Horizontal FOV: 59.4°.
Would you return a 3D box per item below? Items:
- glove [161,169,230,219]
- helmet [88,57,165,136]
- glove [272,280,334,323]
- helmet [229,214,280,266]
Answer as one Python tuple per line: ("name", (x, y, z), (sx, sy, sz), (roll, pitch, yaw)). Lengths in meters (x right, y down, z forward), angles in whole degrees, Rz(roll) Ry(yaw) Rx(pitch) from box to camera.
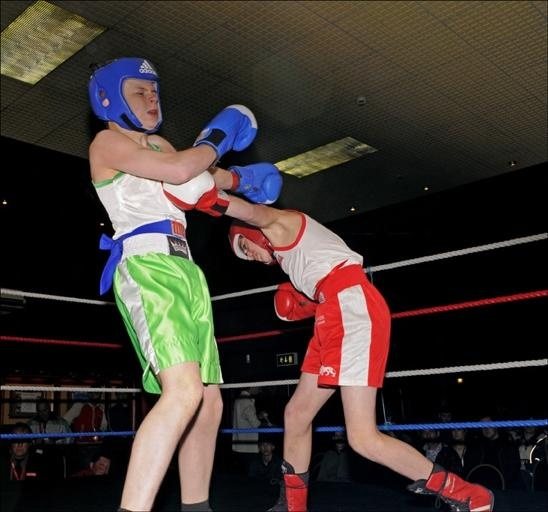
("glove", (-0.216, -0.163, 1.420), (0.215, 0.070, 0.100), (13, 22, -38))
("helmet", (-0.459, -0.479, 1.454), (0.190, 0.169, 0.217), (-8, 17, -39))
("glove", (0.089, 0.175, 2.183), (0.179, 0.204, 0.104), (38, 32, 31))
("helmet", (-0.095, -0.064, 2.060), (0.236, 0.144, 0.173), (30, 38, 8))
